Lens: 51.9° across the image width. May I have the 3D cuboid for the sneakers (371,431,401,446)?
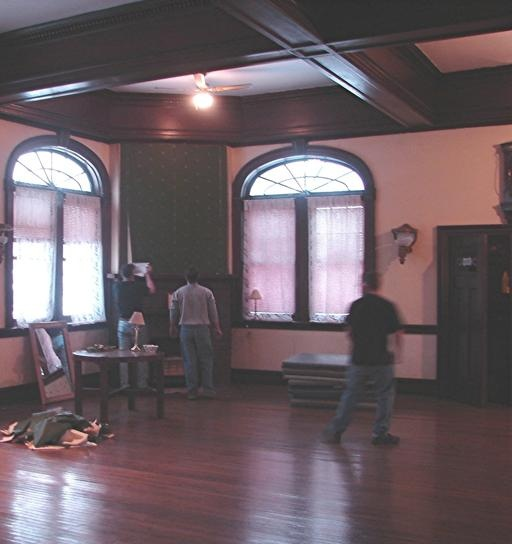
[{"bbox_3d":[1.198,1.541,4.881,0.285,0.104,0.095,-1,2,-10],"label":"sneakers"}]

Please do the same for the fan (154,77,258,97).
[{"bbox_3d":[-0.666,-2.387,6.747,0.839,0.177,0.818,6,12,38],"label":"fan"}]

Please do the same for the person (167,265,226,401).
[{"bbox_3d":[-0.807,0.811,6.989,0.655,1.656,0.385,0,-3,-8],"label":"person"}]

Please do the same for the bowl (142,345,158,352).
[{"bbox_3d":[-1.180,0.848,5.841,0.129,0.050,0.124,-1,-6,0],"label":"bowl"}]

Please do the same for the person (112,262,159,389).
[{"bbox_3d":[-1.719,0.697,7.390,0.609,1.667,0.538,-5,18,-18],"label":"person"}]

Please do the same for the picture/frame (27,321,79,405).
[{"bbox_3d":[-2.669,1.163,6.868,0.415,1.013,0.572,-1,-3,27],"label":"picture/frame"}]

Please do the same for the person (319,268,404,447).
[{"bbox_3d":[0.979,0.890,4.748,0.714,1.368,0.504,-1,-3,20],"label":"person"}]

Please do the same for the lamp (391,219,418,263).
[{"bbox_3d":[2.026,-0.379,7.140,0.351,0.550,0.184,-1,-3,14],"label":"lamp"}]

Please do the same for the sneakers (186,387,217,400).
[{"bbox_3d":[-0.699,1.574,6.906,0.442,0.162,0.139,-1,0,-18],"label":"sneakers"}]

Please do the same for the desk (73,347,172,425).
[{"bbox_3d":[-1.494,1.303,5.817,1.004,0.640,0.944,0,-4,-14],"label":"desk"}]

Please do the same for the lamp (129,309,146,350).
[{"bbox_3d":[-1.325,0.658,5.845,0.230,0.397,0.211,-2,-12,11],"label":"lamp"}]
